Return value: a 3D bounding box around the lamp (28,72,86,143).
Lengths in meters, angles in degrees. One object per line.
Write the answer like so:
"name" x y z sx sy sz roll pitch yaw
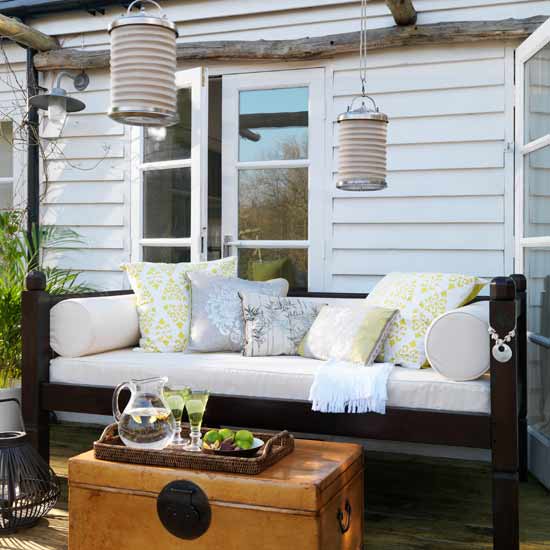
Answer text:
"lamp" -1.255 -0.982 4.509 0.320 0.459 0.255 1 5 -15

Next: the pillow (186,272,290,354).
"pillow" -0.254 0.166 3.604 0.354 0.394 0.110 4 -17 -15

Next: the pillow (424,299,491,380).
"pillow" 0.694 0.233 2.953 0.200 0.261 0.231 5 5 31

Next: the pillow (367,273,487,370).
"pillow" 0.661 0.207 3.366 0.112 0.419 0.413 36 -12 -25

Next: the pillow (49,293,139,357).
"pillow" -0.847 0.203 3.578 0.309 0.261 0.326 7 6 32

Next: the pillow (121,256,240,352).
"pillow" -0.509 0.132 3.916 0.598 0.524 0.370 1 0 -10

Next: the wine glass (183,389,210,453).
"wine glass" -0.242 0.478 2.540 0.079 0.198 0.088 4 3 -19

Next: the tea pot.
"tea pot" -0.440 0.463 2.630 0.227 0.249 0.184 -1 -2 14

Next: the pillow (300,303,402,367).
"pillow" 0.322 0.235 3.306 0.098 0.236 0.371 35 -15 -22

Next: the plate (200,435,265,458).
"plate" -0.111 0.556 2.543 0.110 0.039 0.108 -2 4 -39

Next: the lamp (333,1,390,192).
"lamp" 0.445 -0.938 3.911 0.269 1.022 0.640 0 4 5
